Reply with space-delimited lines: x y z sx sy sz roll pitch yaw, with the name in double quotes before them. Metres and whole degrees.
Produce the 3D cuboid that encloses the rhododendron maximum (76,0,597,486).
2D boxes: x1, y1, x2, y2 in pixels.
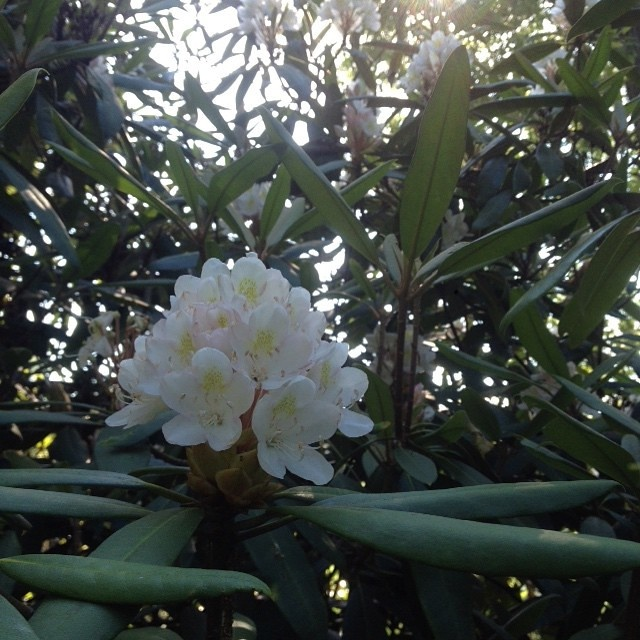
"rhododendron maximum" 0.073 -0.096 1.185 0.778 0.549 0.751 -6 15 -7
